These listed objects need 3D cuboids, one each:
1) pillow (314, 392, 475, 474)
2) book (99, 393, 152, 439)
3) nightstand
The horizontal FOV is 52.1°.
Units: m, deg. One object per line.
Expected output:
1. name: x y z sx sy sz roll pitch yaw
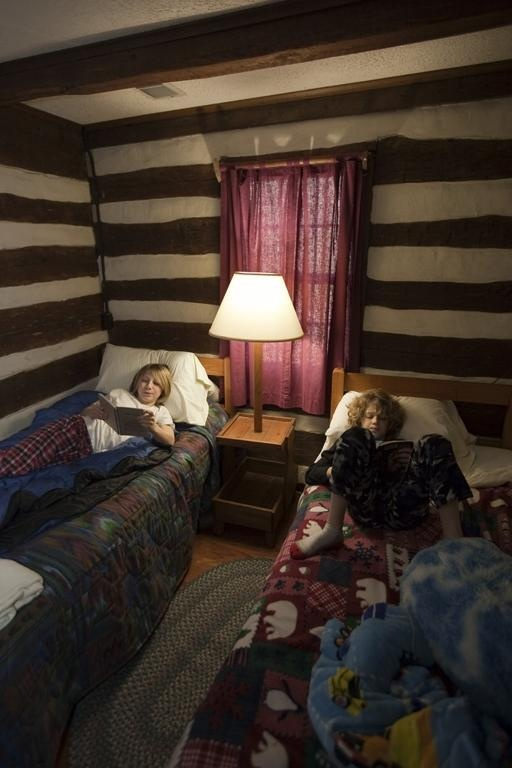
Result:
1. pillow: 0.687 0.165 2.458 0.475 0.143 0.444 6 25 14
2. book: -0.588 0.168 2.445 0.166 0.226 0.083 8 44 11
3. nightstand: 0.024 0.477 2.899 0.420 0.505 0.609 4 17 8
